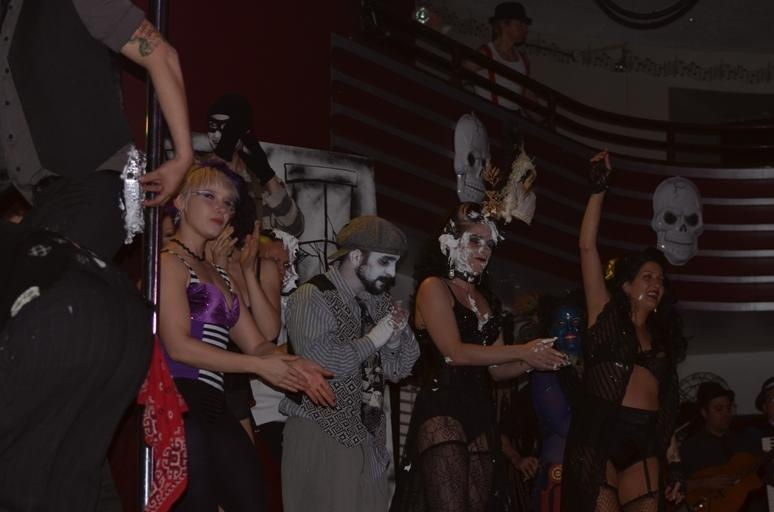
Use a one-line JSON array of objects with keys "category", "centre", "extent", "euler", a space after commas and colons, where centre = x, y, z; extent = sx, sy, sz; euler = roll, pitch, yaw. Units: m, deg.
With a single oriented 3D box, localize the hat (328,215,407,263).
[{"category": "hat", "centre": [-0.123, -0.104, 4.116], "extent": [0.490, 0.301, 0.372], "euler": [1, 5, 8]}]
